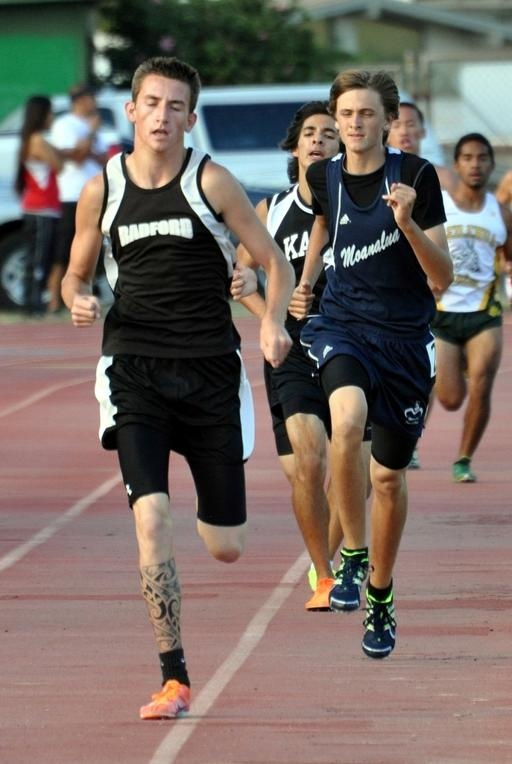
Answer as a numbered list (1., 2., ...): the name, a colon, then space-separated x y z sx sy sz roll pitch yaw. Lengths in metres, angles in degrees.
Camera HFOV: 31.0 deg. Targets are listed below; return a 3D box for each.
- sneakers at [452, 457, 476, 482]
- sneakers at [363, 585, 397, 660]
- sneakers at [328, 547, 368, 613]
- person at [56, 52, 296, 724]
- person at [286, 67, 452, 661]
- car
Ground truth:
1. sneakers: 1.148 0.489 5.079 0.125 0.130 0.115 0 1 4
2. sneakers: 0.363 0.688 2.643 0.082 0.201 0.092 1 -27 7
3. sneakers: 0.287 0.598 2.803 0.096 0.093 0.232 1 25 10
4. person: -0.151 -0.054 2.343 0.605 1.599 0.685 -1 1 -17
5. person: 0.357 -0.096 2.751 0.420 1.735 0.409 0 1 -1
6. car: -0.368 -2.307 10.962 4.852 1.900 2.566 1 3 1
